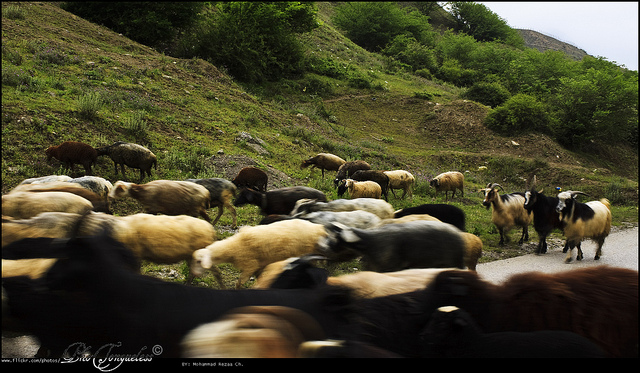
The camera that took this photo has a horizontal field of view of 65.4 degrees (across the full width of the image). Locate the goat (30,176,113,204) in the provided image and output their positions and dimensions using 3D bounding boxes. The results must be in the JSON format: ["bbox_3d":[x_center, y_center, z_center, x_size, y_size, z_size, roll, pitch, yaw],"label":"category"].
[{"bbox_3d":[-8.551,0.008,16.618,3.002,1.108,0.706,6,14,-1],"label":"goat"}]

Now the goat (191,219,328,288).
[{"bbox_3d":[-1.643,2.134,14.809,4.486,1.803,1.165,-11,-1,7],"label":"goat"}]

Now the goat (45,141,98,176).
[{"bbox_3d":[-9.281,-1.080,18.633,1.641,0.838,0.448,5,3,-11],"label":"goat"}]

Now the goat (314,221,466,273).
[{"bbox_3d":[2.300,1.735,15.514,5.759,2.198,1.478,0,4,1],"label":"goat"}]

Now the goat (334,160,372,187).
[{"bbox_3d":[1.567,-0.598,23.538,2.269,1.074,0.655,-16,14,-38],"label":"goat"}]

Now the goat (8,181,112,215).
[{"bbox_3d":[-7.998,0.380,15.175,2.890,1.144,0.661,10,7,5],"label":"goat"}]

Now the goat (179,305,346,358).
[{"bbox_3d":[-1.505,3.705,12.371,3.357,1.268,0.921,2,0,2],"label":"goat"}]

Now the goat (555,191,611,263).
[{"bbox_3d":[9.312,1.372,18.379,2.043,2.368,2.159,0,0,33],"label":"goat"}]

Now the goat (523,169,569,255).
[{"bbox_3d":[8.540,1.169,18.923,1.802,2.388,1.535,1,1,22],"label":"goat"}]

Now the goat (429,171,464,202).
[{"bbox_3d":[5.841,0.012,22.628,1.509,1.298,1.005,7,2,3],"label":"goat"}]
